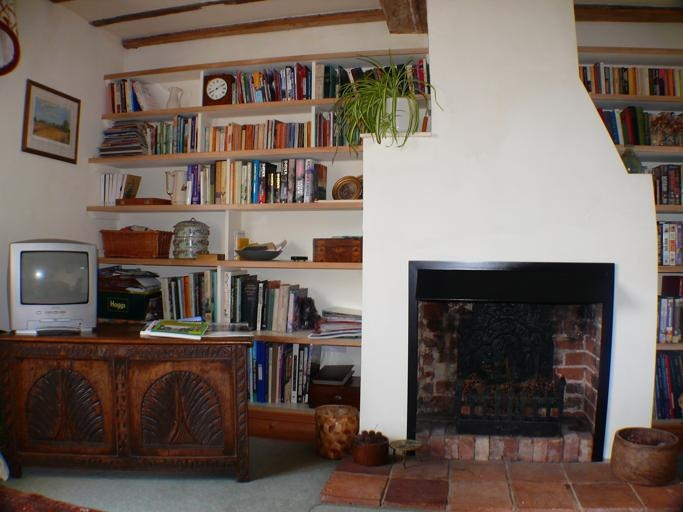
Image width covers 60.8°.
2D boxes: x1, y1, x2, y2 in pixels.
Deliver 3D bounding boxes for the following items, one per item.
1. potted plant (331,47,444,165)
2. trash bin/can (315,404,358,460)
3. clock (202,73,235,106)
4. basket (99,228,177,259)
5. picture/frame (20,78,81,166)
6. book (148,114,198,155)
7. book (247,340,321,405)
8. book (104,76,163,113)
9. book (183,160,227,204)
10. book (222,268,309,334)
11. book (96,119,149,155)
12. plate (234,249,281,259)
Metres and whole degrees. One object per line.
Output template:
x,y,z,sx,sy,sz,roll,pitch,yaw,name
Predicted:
0.297,-0.940,3.789,0.755,0.518,0.666,1,7,13,potted plant
0.016,1.136,3.729,0.354,0.289,0.227,4,12,37,trash bin/can
-0.913,-1.229,4.326,0.278,0.262,0.092,-1,-7,15,clock
-1.531,-0.084,4.406,0.405,0.163,0.258,3,3,14,basket
-2.069,-0.948,4.154,0.040,0.560,0.500,2,10,27,picture/frame
-1.259,-0.906,4.390,0.336,0.307,0.180,-1,-3,25,book
-0.417,0.783,4.382,0.463,0.577,0.605,1,0,11,book
-1.641,-1.256,4.533,0.309,0.287,0.168,-3,-6,-26,book
-0.976,-0.510,4.423,0.303,0.375,0.391,0,1,9,book
-0.575,0.340,4.168,0.599,0.383,0.417,3,5,8,book
-1.656,-0.875,4.425,0.317,0.138,0.299,-1,1,11,book
-0.587,-0.004,4.132,0.288,0.089,0.073,-4,9,-8,plate
